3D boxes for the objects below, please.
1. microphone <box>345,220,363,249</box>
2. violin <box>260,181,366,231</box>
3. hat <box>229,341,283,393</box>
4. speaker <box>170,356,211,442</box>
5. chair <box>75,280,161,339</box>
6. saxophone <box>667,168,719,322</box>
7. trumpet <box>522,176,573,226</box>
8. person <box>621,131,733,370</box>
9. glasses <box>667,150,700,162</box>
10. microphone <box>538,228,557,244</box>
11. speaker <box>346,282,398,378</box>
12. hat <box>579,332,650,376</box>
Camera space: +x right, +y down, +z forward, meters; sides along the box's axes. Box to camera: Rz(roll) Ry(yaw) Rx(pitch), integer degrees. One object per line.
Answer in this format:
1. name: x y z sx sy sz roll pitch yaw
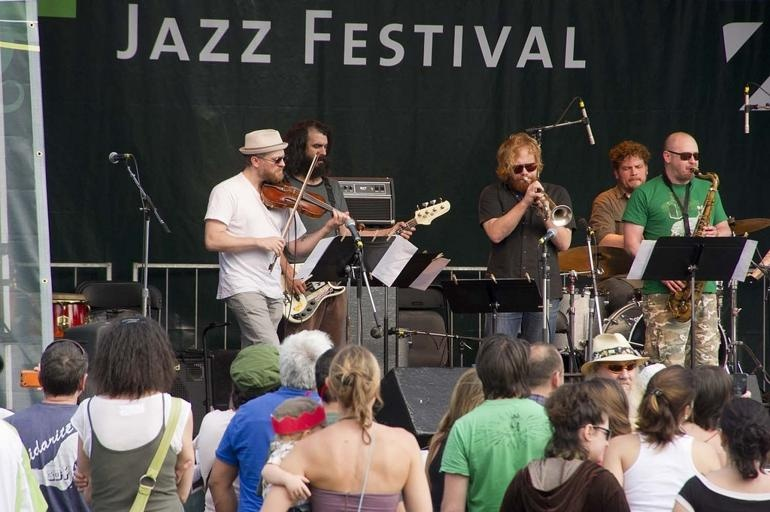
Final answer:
1. microphone: -0.269 -0.185 10.585 0.146 0.286 0.310 0 -2 -3
2. violin: -0.646 -0.460 11.183 0.894 0.187 0.366 18 26 -37
3. hat: -0.912 0.781 8.860 0.323 0.293 0.122 -2 -19 -8
4. speaker: -1.798 1.240 11.858 0.456 0.867 0.482 -7 11 -35
5. chair: -2.660 0.503 12.623 0.615 0.508 0.557 1 12 41
6. saxophone: 2.728 -0.095 10.982 0.580 1.320 0.348 1 -2 -41
7. trumpet: 1.419 -0.482 11.100 0.229 0.183 0.510 -37 29 2
8. person: 2.541 -0.060 10.969 0.762 2.278 0.733 2 20 0
9. glasses: 2.586 -0.873 10.977 0.224 0.086 0.068 0 -2 11
10. microphone: 1.381 -0.186 10.972 0.219 0.070 0.070 -19 -30 -31
11. speaker: -0.096 0.657 11.822 0.345 0.859 0.356 12 18 42
12. hat: 1.760 0.744 9.972 0.338 0.172 0.388 -2 -11 -13
